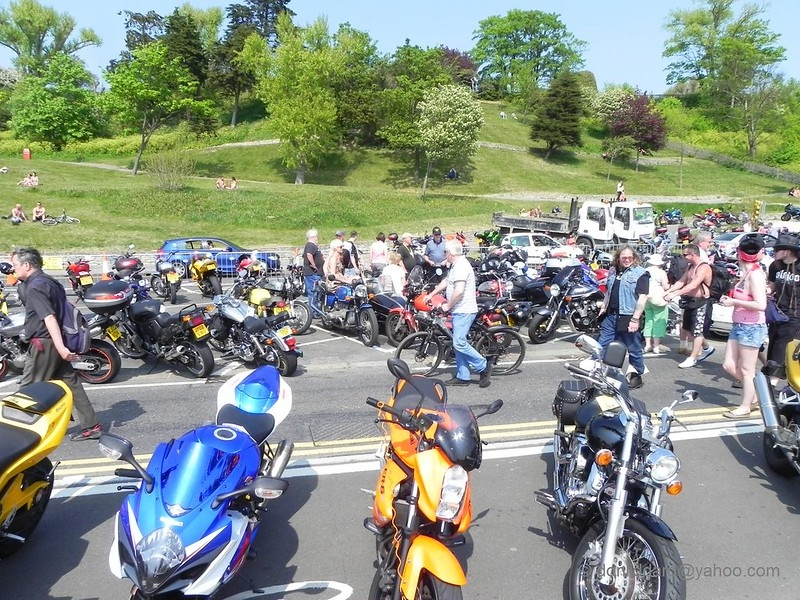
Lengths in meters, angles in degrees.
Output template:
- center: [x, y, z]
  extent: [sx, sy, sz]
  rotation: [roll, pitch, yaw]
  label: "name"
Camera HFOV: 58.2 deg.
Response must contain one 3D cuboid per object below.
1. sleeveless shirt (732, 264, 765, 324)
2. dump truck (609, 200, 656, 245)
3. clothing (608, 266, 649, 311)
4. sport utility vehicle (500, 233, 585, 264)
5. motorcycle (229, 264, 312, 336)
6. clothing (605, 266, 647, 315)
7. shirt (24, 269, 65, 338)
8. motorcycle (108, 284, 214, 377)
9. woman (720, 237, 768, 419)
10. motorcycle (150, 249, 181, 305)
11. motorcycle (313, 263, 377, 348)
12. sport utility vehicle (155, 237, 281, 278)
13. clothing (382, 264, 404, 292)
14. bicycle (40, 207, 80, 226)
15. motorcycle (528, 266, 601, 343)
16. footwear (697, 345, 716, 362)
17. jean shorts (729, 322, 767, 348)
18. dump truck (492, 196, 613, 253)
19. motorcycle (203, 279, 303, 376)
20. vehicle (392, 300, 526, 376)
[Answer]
- center: [4.805, -0.050, 9.920]
  extent: [0.448, 0.820, 0.284]
  rotation: [8, 14, 27]
  label: "sleeveless shirt"
- center: [9.446, -3.110, 28.974]
  extent: [1.251, 1.315, 2.042]
  rotation: [-4, 11, -13]
  label: "dump truck"
- center: [3.585, -0.159, 11.329]
  extent: [0.351, 0.645, 0.634]
  rotation: [13, -5, -29]
  label: "clothing"
- center: [5.026, -1.534, 26.051]
  extent: [2.632, 1.287, 1.599]
  rotation: [-4, 24, -1]
  label: "sport utility vehicle"
- center: [-2.646, 0.083, 14.923]
  extent: [1.239, 1.410, 2.256]
  rotation: [-8, 27, -30]
  label: "motorcycle"
- center: [3.561, -0.125, 11.348]
  extent: [0.398, 0.711, 0.728]
  rotation: [6, -1, -28]
  label: "clothing"
- center: [-4.585, 0.089, 9.287]
  extent: [0.472, 0.941, 0.875]
  rotation: [0, 4, -4]
  label: "shirt"
- center: [-3.959, 0.531, 12.099]
  extent: [1.902, 1.190, 1.006]
  rotation: [19, 24, 23]
  label: "motorcycle"
- center: [4.802, 0.423, 10.112]
  extent: [0.676, 2.561, 0.797]
  rotation: [2, 2, 4]
  label: "woman"
- center: [-5.951, -0.505, 19.036]
  extent: [0.772, 0.948, 1.498]
  rotation: [9, 13, -29]
  label: "motorcycle"
- center: [-1.096, 0.189, 14.558]
  extent: [0.826, 1.089, 1.961]
  rotation: [-2, 11, -31]
  label: "motorcycle"
- center: [-5.843, -1.457, 23.802]
  extent: [4.000, 1.405, 1.901]
  rotation: [-4, 13, -13]
  label: "sport utility vehicle"
- center: [-0.139, -0.412, 14.693]
  extent: [0.464, 0.306, 0.542]
  rotation: [11, 31, -3]
  label: "clothing"
- center: [-15.942, -3.737, 33.906]
  extent: [1.552, 0.789, 0.953]
  rotation: [4, 10, -22]
  label: "bicycle"
- center: [3.419, 0.117, 14.446]
  extent: [1.792, 1.502, 0.672]
  rotation: [-8, 16, -39]
  label: "motorcycle"
- center: [5.395, 0.973, 12.758]
  extent: [0.117, 0.304, 0.110]
  rotation: [27, 31, 1]
  label: "footwear"
- center: [4.850, 0.500, 10.021]
  extent: [0.330, 0.254, 0.455]
  rotation: [5, 2, 6]
  label: "jean shorts"
- center: [6.614, -2.877, 30.054]
  extent: [5.356, 2.641, 2.079]
  rotation: [2, 22, 3]
  label: "dump truck"
- center: [-2.392, 0.568, 12.615]
  extent: [1.999, 1.133, 0.940]
  rotation: [28, 33, 36]
  label: "motorcycle"
- center: [0.939, 0.586, 12.415]
  extent: [2.190, 1.395, 1.071]
  rotation: [1, 42, -1]
  label: "vehicle"
